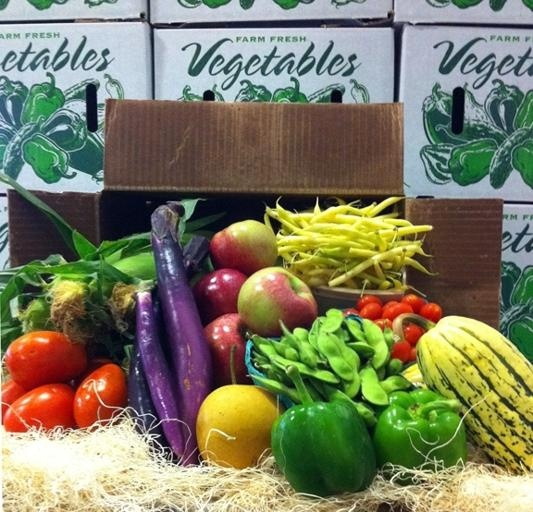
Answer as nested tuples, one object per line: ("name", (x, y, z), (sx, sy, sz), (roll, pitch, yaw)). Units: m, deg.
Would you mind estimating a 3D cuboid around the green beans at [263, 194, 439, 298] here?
("green beans", (0.212, -0.033, 1.540), (0.378, 0.267, 0.146), (2, -16, 2))
